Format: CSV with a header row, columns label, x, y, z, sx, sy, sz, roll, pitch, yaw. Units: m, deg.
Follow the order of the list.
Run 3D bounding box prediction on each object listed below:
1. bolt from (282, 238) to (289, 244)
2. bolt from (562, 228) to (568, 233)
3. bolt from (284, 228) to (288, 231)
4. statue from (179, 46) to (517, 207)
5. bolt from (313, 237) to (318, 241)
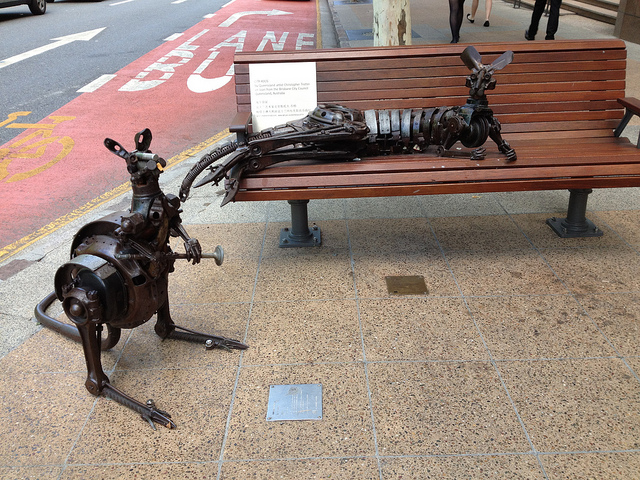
label,x,y,z,sx,sy,sz,roll,pitch,yaw
bolt,-0.341,0.007,4.816,0.054,0.027,0.047,-9,15,-25
bolt,2.393,-0.097,4.787,0.054,0.022,0.069,1,16,18
bolt,-0.345,-0.115,5.006,0.044,0.008,0.038,1,23,1
statue,0.213,-0.955,4.415,2.923,0.658,0.654,-6,0,13
bolt,-0.047,-0.020,4.818,0.038,0.018,0.025,6,69,-7
